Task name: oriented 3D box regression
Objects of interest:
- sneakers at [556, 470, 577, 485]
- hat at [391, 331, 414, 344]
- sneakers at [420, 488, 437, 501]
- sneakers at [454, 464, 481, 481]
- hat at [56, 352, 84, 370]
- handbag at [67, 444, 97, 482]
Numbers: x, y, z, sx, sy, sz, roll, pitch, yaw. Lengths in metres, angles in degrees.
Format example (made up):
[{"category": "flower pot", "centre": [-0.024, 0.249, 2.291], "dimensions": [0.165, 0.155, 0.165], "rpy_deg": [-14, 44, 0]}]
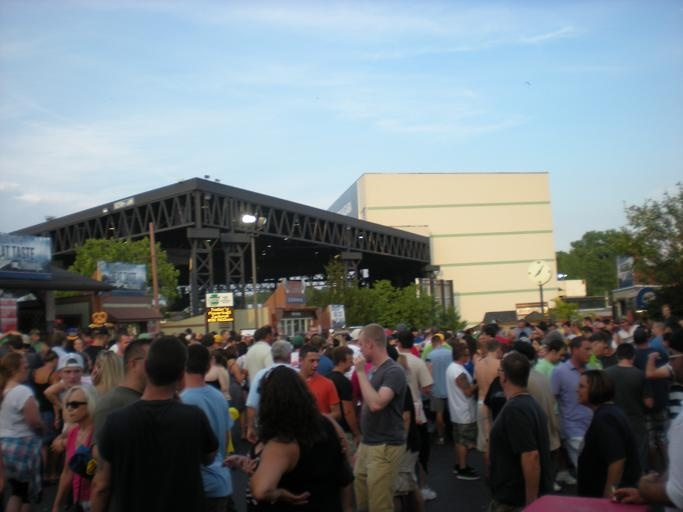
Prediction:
[{"category": "sneakers", "centre": [3.290, 3.240, 11.089], "dimensions": [0.383, 0.176, 0.189], "rpy_deg": [-2, 3, -35]}, {"category": "hat", "centre": [0.976, 1.230, 11.407], "dimensions": [0.242, 0.173, 0.220], "rpy_deg": [13, -4, -37]}, {"category": "sneakers", "centre": [1.243, 3.363, 10.753], "dimensions": [0.218, 0.126, 0.254], "rpy_deg": [-1, -5, 4]}, {"category": "sneakers", "centre": [1.916, 3.277, 11.544], "dimensions": [0.414, 0.176, 0.153], "rpy_deg": [0, 0, 9]}, {"category": "hat", "centre": [-3.661, 1.419, 10.338], "dimensions": [0.391, 0.205, 0.530], "rpy_deg": [1, -3, -25]}, {"category": "handbag", "centre": [-2.594, 2.052, 7.594], "dimensions": [0.300, 0.338, 0.139], "rpy_deg": [9, 6, -38]}]
